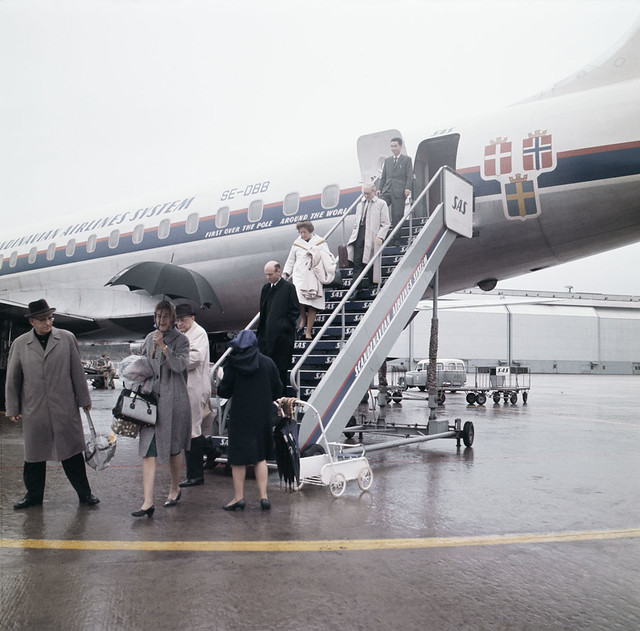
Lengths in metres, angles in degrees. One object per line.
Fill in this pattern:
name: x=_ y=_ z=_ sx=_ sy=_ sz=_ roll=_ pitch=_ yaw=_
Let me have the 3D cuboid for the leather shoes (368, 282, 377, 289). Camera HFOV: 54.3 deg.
leather shoes: x=0.774 y=-0.428 z=9.038 sx=0.153 sy=0.105 sz=0.056 roll=-6 pitch=-8 yaw=40

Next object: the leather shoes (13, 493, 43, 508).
leather shoes: x=-2.817 y=1.778 z=5.990 sx=0.095 sy=0.123 sz=0.248 roll=-6 pitch=-14 yaw=24

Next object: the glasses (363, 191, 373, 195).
glasses: x=0.727 y=-1.796 z=9.199 sx=0.130 sy=0.070 sz=0.061 roll=0 pitch=-6 yaw=5

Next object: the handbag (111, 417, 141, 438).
handbag: x=-1.851 y=1.054 z=5.954 sx=0.226 sy=0.269 sz=0.189 roll=4 pitch=3 yaw=14

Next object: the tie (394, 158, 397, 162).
tie: x=1.220 y=-2.479 z=9.975 sx=0.014 sy=0.073 sz=0.043 roll=5 pitch=-2 yaw=-34

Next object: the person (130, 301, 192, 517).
person: x=-1.507 y=0.858 z=6.007 sx=0.616 sy=2.009 sz=0.385 roll=4 pitch=-7 yaw=-36

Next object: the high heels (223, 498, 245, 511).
high heels: x=-0.820 y=1.793 z=5.948 sx=0.182 sy=0.123 sz=0.097 roll=1 pitch=-5 yaw=9

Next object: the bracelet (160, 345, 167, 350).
bracelet: x=-1.484 y=0.303 z=5.927 sx=0.031 sy=0.047 sz=0.041 roll=-8 pitch=-4 yaw=5

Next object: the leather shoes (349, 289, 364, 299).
leather shoes: x=0.532 y=-0.301 z=9.040 sx=0.188 sy=0.184 sz=0.166 roll=0 pitch=-6 yaw=0

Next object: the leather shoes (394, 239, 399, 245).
leather shoes: x=1.202 y=-1.137 z=9.672 sx=0.083 sy=0.072 sz=0.173 roll=2 pitch=-1 yaw=5

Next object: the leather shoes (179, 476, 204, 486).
leather shoes: x=-1.456 y=1.878 z=7.083 sx=0.248 sy=0.137 sz=0.101 roll=4 pitch=-8 yaw=-13

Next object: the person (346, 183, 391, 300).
person: x=0.712 y=-1.252 z=9.234 sx=0.340 sy=1.367 sz=0.766 roll=5 pitch=-8 yaw=-43

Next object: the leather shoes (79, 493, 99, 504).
leather shoes: x=-2.278 y=1.783 z=6.131 sx=0.210 sy=0.113 sz=0.085 roll=-10 pitch=-5 yaw=37

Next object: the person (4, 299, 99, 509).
person: x=-2.643 y=0.855 z=6.130 sx=0.843 sy=1.981 sz=0.367 roll=3 pitch=-6 yaw=-27

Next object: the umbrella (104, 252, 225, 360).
umbrella: x=-1.845 y=-0.189 z=7.711 sx=0.942 sy=0.398 sz=1.058 roll=13 pitch=-13 yaw=4

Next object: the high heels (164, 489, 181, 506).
high heels: x=-1.463 y=1.801 z=6.170 sx=0.067 sy=0.098 sz=0.215 roll=-19 pitch=-9 yaw=14

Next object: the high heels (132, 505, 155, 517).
high heels: x=-1.601 y=1.774 z=5.687 sx=0.228 sy=0.145 sz=0.083 roll=7 pitch=-10 yaw=-29

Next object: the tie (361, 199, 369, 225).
tie: x=0.694 y=-1.536 z=9.284 sx=0.072 sy=0.339 sz=0.156 roll=10 pitch=-9 yaw=-30

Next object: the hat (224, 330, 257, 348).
hat: x=-0.975 y=0.281 z=7.573 sx=0.383 sy=0.314 sz=0.547 roll=-1 pitch=0 yaw=-15

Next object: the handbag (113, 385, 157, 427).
handbag: x=-1.708 y=0.847 z=5.794 sx=0.267 sy=0.293 sz=0.108 roll=20 pitch=-19 yaw=-31

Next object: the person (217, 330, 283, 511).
person: x=-0.676 y=0.963 z=6.036 sx=0.598 sy=1.661 sz=0.305 roll=1 pitch=-5 yaw=-4

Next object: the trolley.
trolley: x=0.018 y=1.412 z=6.766 sx=0.999 sy=1.073 sz=0.687 roll=2 pitch=-6 yaw=-40
